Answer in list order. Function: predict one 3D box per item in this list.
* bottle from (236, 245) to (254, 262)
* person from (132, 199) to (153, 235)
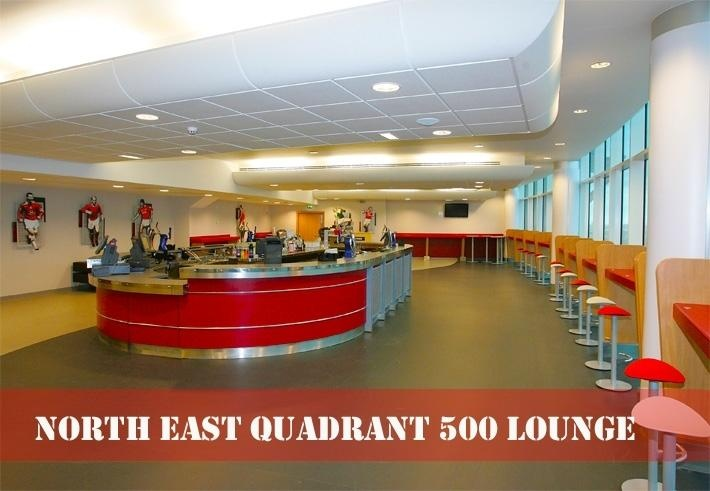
[{"bbox_3d":[-1.948,0.140,8.745,0.277,0.236,0.109,4,8,33],"label":"bottle"},{"bbox_3d":[-5.997,-0.821,13.930,0.352,1.011,0.825,1,2,17],"label":"person"}]
